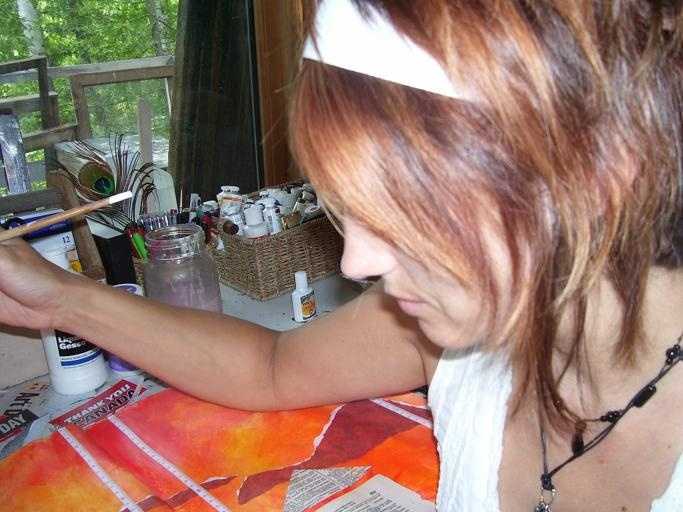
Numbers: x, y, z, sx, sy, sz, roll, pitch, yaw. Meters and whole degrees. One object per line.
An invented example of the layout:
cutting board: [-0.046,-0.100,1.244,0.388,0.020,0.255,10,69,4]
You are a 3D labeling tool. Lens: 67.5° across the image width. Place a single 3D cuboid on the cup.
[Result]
cup: [-0.311,0.049,1.093,0.174,0.202,0.137,-2,10,34]
